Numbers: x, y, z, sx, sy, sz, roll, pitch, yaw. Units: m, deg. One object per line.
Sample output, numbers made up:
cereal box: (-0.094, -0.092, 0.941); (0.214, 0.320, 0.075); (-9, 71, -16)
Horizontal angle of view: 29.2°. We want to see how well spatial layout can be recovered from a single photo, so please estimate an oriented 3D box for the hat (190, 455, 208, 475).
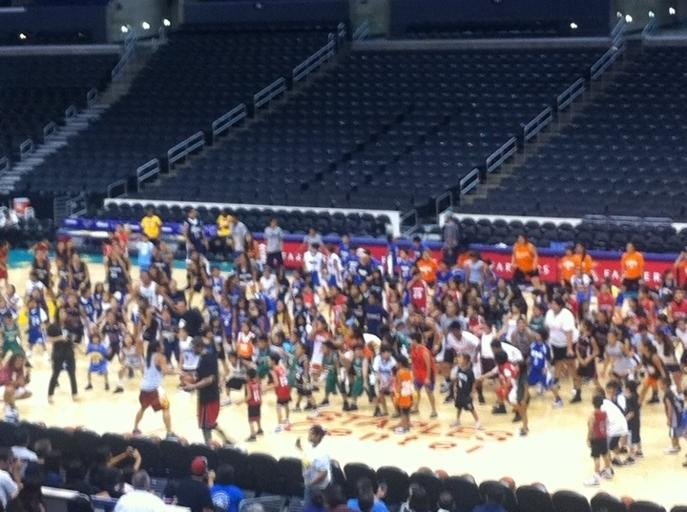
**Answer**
hat: (-3.215, 4.633, 29.201); (0.277, 0.425, 0.240); (0, -35, -2)
